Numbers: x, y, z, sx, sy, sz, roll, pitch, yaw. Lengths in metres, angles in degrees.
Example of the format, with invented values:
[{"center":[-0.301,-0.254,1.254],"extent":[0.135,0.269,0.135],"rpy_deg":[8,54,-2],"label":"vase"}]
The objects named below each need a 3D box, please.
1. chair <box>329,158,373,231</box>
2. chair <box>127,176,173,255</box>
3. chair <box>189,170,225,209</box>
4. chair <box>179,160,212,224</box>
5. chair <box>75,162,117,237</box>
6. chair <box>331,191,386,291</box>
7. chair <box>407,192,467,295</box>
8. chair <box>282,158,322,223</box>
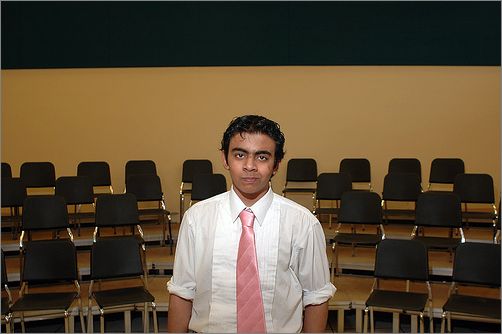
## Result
[{"center":[1.853,0.456,8.067],"extent":[0.607,1.063,0.681],"rpy_deg":[-5,16,-1],"label":"chair"},{"center":[-1.623,0.745,7.327],"extent":[0.691,1.238,0.838],"rpy_deg":[-2,3,-10],"label":"chair"},{"center":[-0.727,0.363,7.616],"extent":[0.518,0.710,0.477],"rpy_deg":[0,0,-9],"label":"chair"},{"center":[-1.051,0.311,8.331],"extent":[0.738,1.549,0.910],"rpy_deg":[1,-4,-7],"label":"chair"},{"center":[-2.826,0.291,8.491],"extent":[0.592,1.183,0.737],"rpy_deg":[-1,-7,-18],"label":"chair"},{"center":[1.525,1.027,6.470],"extent":[0.823,1.313,0.889],"rpy_deg":[3,3,37],"label":"chair"},{"center":[2.713,0.918,6.644],"extent":[0.890,1.545,0.973],"rpy_deg":[0,-6,15],"label":"chair"},{"center":[0.937,0.306,8.401],"extent":[0.733,1.357,0.856],"rpy_deg":[0,-4,7],"label":"chair"}]
